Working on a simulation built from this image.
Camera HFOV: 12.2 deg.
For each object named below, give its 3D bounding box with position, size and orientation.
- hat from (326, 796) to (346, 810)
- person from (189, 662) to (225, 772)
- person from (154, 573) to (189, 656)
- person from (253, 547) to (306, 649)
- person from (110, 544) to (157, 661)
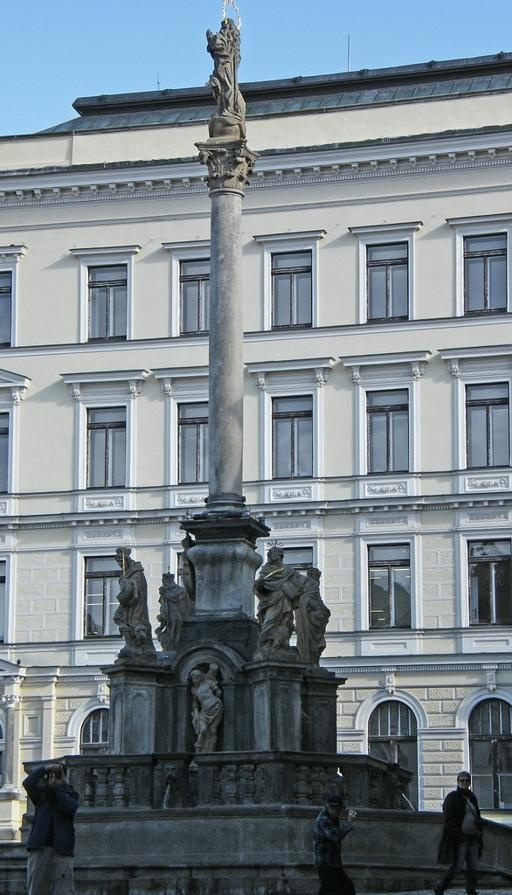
[{"bbox_3d":[0.745,3.267,22.230,0.141,0.097,0.208,15,-8,9],"label":"hat"},{"bbox_3d":[-0.583,3.067,28.501,0.308,1.046,0.548,5,-11,-31],"label":"person"},{"bbox_3d":[-0.997,2.005,29.540,0.335,1.058,0.831,2,-10,-13],"label":"person"},{"bbox_3d":[0.271,1.789,28.469,0.531,1.373,1.089,-1,-10,2],"label":"person"},{"bbox_3d":[-1.493,1.878,29.560,0.365,1.385,0.438,-4,-7,6],"label":"person"}]
